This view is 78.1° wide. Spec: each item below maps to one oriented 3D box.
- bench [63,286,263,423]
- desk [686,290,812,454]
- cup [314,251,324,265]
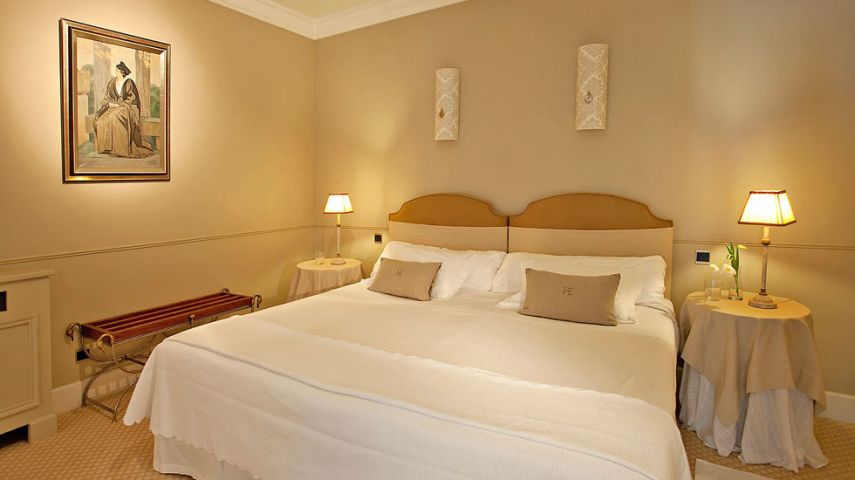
[{"bbox_3d":[-2.829,1.169,5.982,0.675,0.777,1.920,7,12,34],"label":"bench"},{"bbox_3d":[3.007,1.261,5.200,1.128,0.988,1.027,17,-17,-36],"label":"desk"},{"bbox_3d":[-1.418,0.224,6.790,0.165,0.155,0.160,0,-2,0],"label":"cup"}]
